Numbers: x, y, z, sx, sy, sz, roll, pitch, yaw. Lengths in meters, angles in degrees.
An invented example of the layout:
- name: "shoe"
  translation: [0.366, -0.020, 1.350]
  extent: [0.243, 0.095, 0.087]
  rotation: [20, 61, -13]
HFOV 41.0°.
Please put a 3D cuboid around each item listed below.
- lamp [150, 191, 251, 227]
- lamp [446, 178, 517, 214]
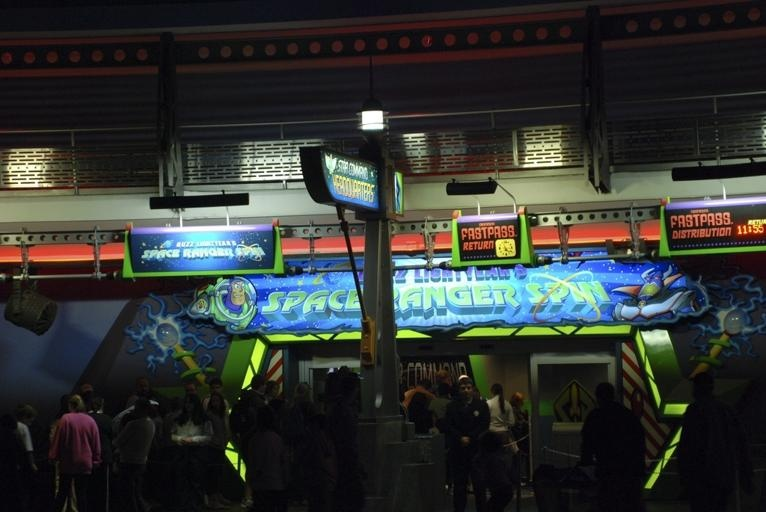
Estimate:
- name: "lamp"
  translation: [-3.180, -0.880, 17.889]
  extent: [1.705, 0.415, 0.484]
  rotation: [-3, 1, -1]
- name: "lamp"
  translation: [1.901, -1.225, 19.973]
  extent: [0.840, 0.227, 0.787]
  rotation: [-2, -37, 9]
